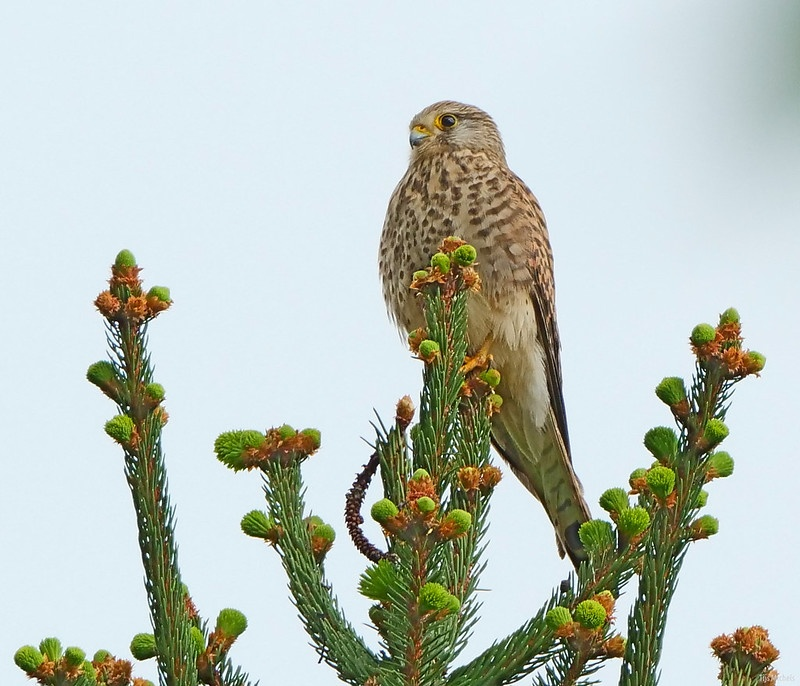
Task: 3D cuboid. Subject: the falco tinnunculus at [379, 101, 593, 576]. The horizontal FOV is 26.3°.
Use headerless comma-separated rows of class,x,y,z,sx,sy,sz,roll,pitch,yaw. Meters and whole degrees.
falco tinnunculus,0.273,0.067,6.000,0.505,1.728,1.019,-20,-46,34
